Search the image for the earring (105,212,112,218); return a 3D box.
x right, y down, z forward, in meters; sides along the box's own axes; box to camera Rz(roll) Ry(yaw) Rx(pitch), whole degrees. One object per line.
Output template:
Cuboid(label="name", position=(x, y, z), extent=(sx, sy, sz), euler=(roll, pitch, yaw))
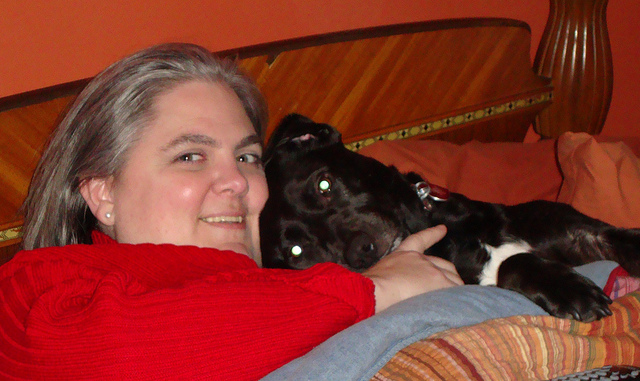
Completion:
Cuboid(label="earring", position=(-1.146, 0.130, 3.117), extent=(0.033, 0.026, 0.019), euler=(-3, -30, -9))

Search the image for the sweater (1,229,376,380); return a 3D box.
Cuboid(label="sweater", position=(-0.684, 0.565, 2.836), extent=(1.727, 0.749, 0.270), euler=(-2, -31, -10))

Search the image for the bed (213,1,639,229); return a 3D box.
Cuboid(label="bed", position=(1.102, -0.764, 4.754), extent=(2.604, 2.020, 1.585), euler=(-4, -63, 45))
